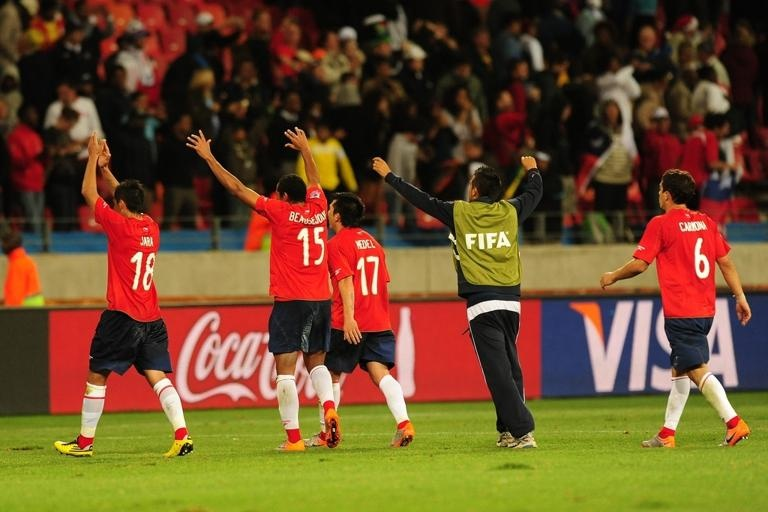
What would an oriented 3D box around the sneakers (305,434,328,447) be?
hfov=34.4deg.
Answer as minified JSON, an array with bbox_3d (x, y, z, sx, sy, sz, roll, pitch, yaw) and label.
[{"bbox_3d":[-0.965,2.630,17.568,0.376,0.187,0.144,3,-6,18],"label":"sneakers"}]

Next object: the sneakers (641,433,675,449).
[{"bbox_3d":[3.798,2.599,17.244,0.464,0.224,0.179,2,-7,4],"label":"sneakers"}]

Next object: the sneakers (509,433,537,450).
[{"bbox_3d":[1.922,2.595,17.238,0.390,0.199,0.170,3,2,3],"label":"sneakers"}]

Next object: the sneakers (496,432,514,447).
[{"bbox_3d":[1.683,2.585,17.390,0.328,0.262,0.116,-4,1,19],"label":"sneakers"}]

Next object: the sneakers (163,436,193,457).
[{"bbox_3d":[-2.860,2.692,17.176,0.495,0.268,0.187,-17,-23,19],"label":"sneakers"}]

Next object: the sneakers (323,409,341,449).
[{"bbox_3d":[-0.727,2.423,17.067,0.192,0.562,0.250,-5,10,-3],"label":"sneakers"}]

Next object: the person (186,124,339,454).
[{"bbox_3d":[-1.400,0.494,17.208,1.312,4.460,0.807,-4,3,-3],"label":"person"}]

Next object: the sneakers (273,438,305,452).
[{"bbox_3d":[-1.333,2.654,17.317,0.390,0.190,0.164,1,0,9],"label":"sneakers"}]
